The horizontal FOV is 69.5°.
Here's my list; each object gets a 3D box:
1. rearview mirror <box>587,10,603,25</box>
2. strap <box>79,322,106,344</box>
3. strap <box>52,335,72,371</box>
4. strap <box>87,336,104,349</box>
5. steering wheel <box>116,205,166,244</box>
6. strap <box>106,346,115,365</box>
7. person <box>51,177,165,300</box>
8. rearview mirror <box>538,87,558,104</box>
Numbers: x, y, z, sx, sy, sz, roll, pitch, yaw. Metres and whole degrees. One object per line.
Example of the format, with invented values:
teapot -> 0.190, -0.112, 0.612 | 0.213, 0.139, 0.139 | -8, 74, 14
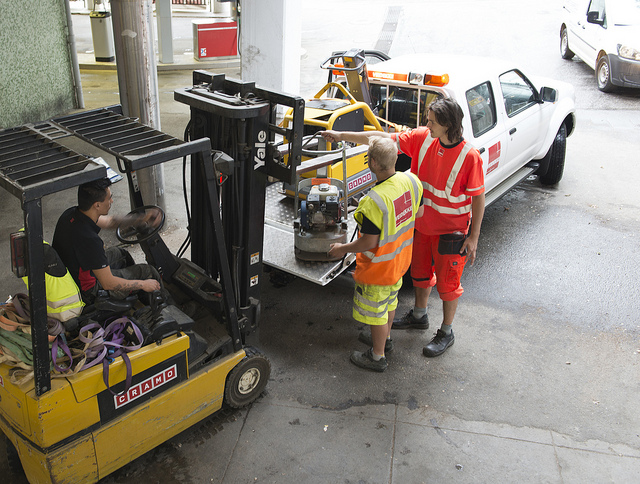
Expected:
rearview mirror -> 6.924, -5.740, 11.758 | 0.351, 0.355, 0.371 | 7, 30, 17
strap -> -1.524, 0.632, 3.127 | 0.139, 0.053, 0.107 | -34, 40, -24
strap -> -1.645, 0.727, 2.953 | 0.106, 0.208, 0.044 | -17, 3, -44
strap -> -1.488, 0.681, 3.087 | 0.019, 0.078, 0.059 | 53, 10, 16
steering wheel -> -1.472, -0.158, 3.831 | 0.333, 0.071, 0.351 | -2, 51, 3
strap -> -1.401, 0.773, 3.115 | 0.041, 0.083, 0.055 | 4, 1, -11
person -> -1.612, 0.115, 3.554 | 0.781, 1.242, 0.676 | -6, 37, -35
rearview mirror -> 3.304, -2.126, 6.699 | 0.225, 0.239, 0.206 | 5, 51, 21
